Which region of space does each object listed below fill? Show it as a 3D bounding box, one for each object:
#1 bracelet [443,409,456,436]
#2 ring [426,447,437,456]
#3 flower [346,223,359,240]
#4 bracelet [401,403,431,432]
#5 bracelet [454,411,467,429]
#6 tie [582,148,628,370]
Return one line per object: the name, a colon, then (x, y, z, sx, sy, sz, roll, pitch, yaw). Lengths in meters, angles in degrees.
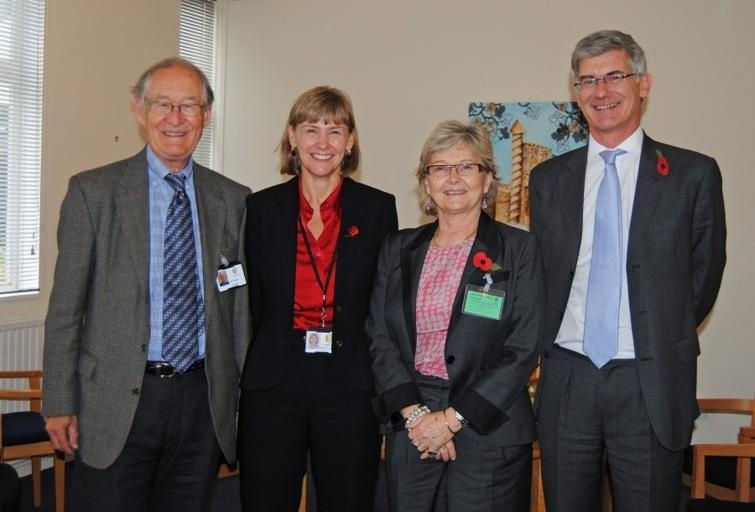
bracelet: (0.369, 0.840, 3.300, 0.058, 0.118, 0.039, 1, 1, 4)
ring: (0.283, 1.002, 3.334, 0.039, 0.015, 0.053, 1, -44, 2)
flower: (-0.134, -0.136, 3.524, 0.058, 0.071, 0.026, 24, -16, -7)
bracelet: (0.180, 0.834, 3.415, 0.152, 0.097, 0.137, -30, -7, -26)
bracelet: (0.422, 0.825, 3.282, 0.054, 0.076, 0.082, -32, -31, 8)
tie: (1.195, 0.000, 3.390, 0.177, 1.133, 0.245, 2, 1, 25)
